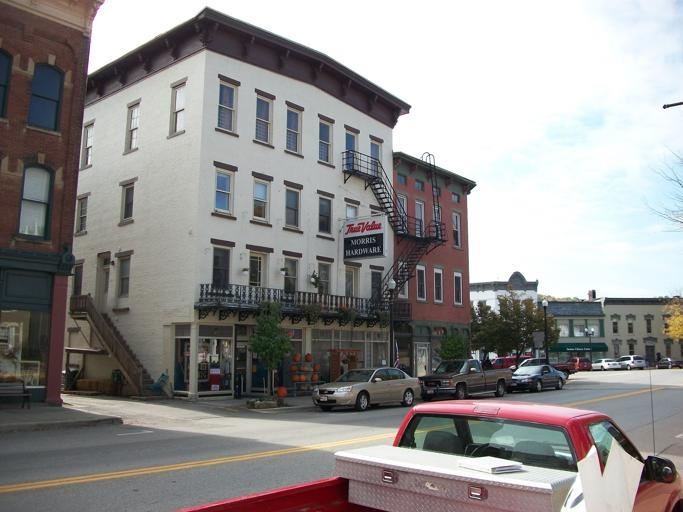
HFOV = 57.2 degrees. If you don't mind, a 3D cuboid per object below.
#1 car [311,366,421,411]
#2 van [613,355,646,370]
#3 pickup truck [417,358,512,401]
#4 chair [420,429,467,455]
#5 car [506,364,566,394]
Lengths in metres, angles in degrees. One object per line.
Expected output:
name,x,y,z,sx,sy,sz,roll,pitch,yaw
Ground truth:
car,1.027,5.360,25.653,1.734,1.405,4.109,-12,-17,41
van,32.723,11.984,70.407,2.560,1.709,5.685,-8,-14,24
pickup truck,6.338,6.057,30.780,2.014,1.851,8.620,-12,-16,37
chair,1.109,2.035,6.861,0.272,0.281,0.276,-4,-12,20
car,10.923,6.787,34.983,4.236,1.531,1.621,10,-17,-41
